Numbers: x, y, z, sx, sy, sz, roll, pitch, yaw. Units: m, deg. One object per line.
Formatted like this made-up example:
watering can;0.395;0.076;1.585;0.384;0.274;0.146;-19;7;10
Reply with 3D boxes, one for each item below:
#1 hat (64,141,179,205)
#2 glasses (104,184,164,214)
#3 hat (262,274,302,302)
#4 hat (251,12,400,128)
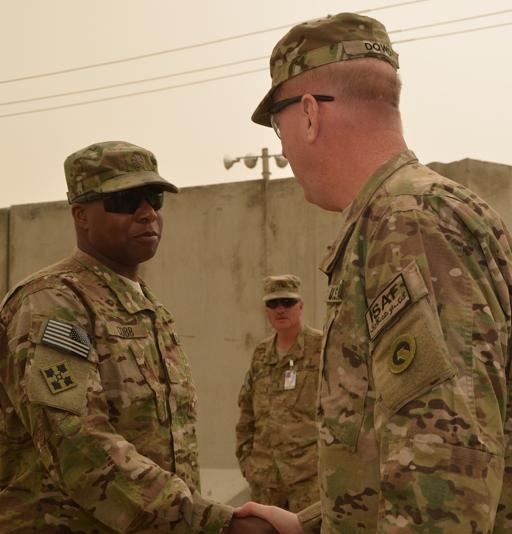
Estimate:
hat;-0.620;-0.437;3.606;0.509;0.255;0.401;-4;6;38
glasses;-0.514;-0.286;3.470;0.294;0.157;0.074;9;-21;-39
hat;0.201;0.162;6.233;0.288;0.278;0.353;-5;-16;1
hat;0.191;-0.663;2.553;0.348;0.204;0.465;-10;-4;-31
